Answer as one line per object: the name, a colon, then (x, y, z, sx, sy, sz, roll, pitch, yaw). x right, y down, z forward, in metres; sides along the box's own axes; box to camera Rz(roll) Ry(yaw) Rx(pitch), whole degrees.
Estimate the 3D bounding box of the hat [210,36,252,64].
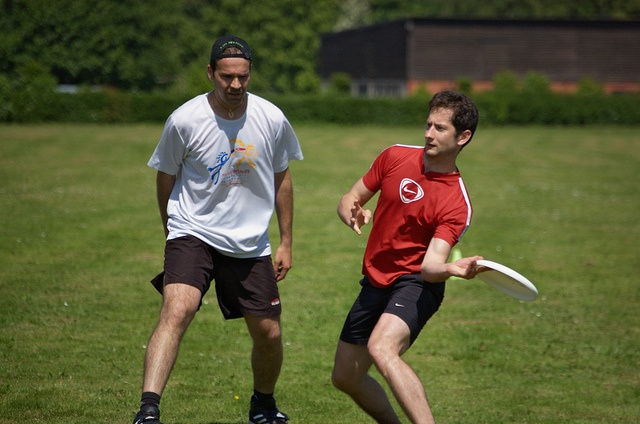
hat: (-0.866, -1.586, 8.966, 0.375, 0.232, 0.368, 0, 18, -4)
